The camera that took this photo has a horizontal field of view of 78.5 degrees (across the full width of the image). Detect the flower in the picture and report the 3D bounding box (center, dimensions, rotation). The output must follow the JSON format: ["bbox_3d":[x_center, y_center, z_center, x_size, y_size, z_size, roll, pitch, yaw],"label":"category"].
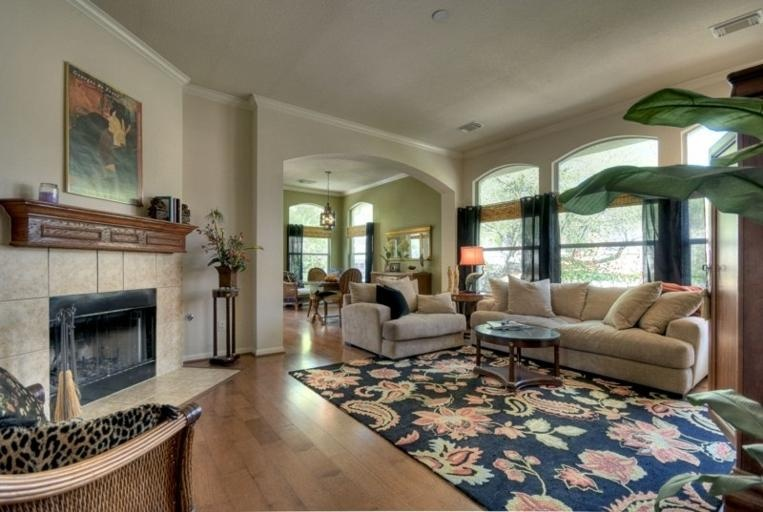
[{"bbox_3d":[-1.979,-0.160,5.758,0.913,0.866,0.606,1,-4,8],"label":"flower"}]

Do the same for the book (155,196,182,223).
[{"bbox_3d":[-2.324,-0.486,5.057,0.207,0.290,0.328,-5,15,-16],"label":"book"}]

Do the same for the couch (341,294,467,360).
[{"bbox_3d":[0.303,0.916,6.423,1.483,0.615,1.565,2,2,38],"label":"couch"}]

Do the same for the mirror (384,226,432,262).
[{"bbox_3d":[0.507,-0.202,9.762,0.104,0.662,1.526,1,5,44],"label":"mirror"}]

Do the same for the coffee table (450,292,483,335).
[{"bbox_3d":[1.445,0.880,7.826,0.323,0.317,0.292,-9,-14,-28],"label":"coffee table"}]

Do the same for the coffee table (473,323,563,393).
[{"bbox_3d":[1.432,1.064,4.983,0.803,0.511,0.890,1,0,-16],"label":"coffee table"}]

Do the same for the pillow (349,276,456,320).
[{"bbox_3d":[0.253,0.539,6.450,1.272,0.487,1.178,-2,0,37],"label":"pillow"}]

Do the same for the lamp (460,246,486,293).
[{"bbox_3d":[1.460,0.251,7.513,0.335,0.922,1.142,2,14,10],"label":"lamp"}]

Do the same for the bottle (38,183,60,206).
[{"bbox_3d":[-2.924,-0.537,4.065,0.166,0.180,0.330,-10,17,-32],"label":"bottle"}]

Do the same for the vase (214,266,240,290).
[{"bbox_3d":[-1.844,0.281,5.688,0.339,0.299,0.273,-3,-6,44],"label":"vase"}]

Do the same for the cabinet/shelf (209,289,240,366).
[{"bbox_3d":[-1.989,0.863,5.654,0.420,0.906,0.394,-9,-3,-18],"label":"cabinet/shelf"}]
